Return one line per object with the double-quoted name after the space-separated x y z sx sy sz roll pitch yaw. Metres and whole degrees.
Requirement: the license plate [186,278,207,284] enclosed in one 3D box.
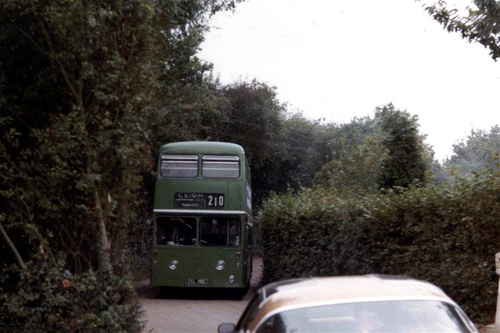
-1.839 3.887 17.153 0.701 0.169 0.024 3 -5 -4 "license plate"
